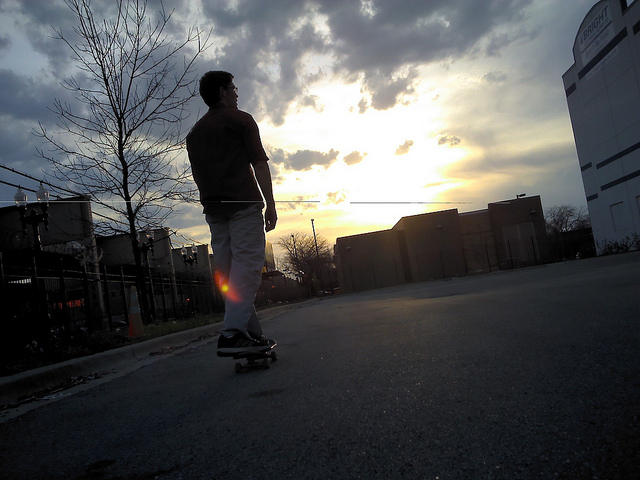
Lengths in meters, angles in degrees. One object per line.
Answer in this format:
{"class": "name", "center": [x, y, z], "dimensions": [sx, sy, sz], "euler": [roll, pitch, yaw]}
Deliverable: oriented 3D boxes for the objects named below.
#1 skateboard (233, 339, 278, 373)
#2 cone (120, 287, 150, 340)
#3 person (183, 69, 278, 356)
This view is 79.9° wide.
{"class": "skateboard", "center": [-0.592, 1.045, 3.499], "dimensions": [0.352, 0.195, 0.439], "euler": [-7, -5, -3]}
{"class": "cone", "center": [-3.782, 1.444, 7.714], "dimensions": [0.593, 0.939, 0.652], "euler": [-5, -1, -15]}
{"class": "person", "center": [-0.829, -0.335, 3.627], "dimensions": [0.805, 2.800, 0.550], "euler": [-6, -4, 4]}
